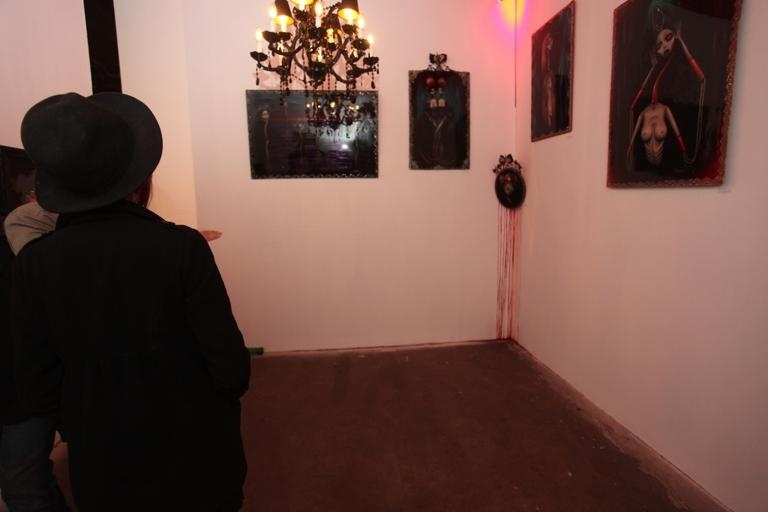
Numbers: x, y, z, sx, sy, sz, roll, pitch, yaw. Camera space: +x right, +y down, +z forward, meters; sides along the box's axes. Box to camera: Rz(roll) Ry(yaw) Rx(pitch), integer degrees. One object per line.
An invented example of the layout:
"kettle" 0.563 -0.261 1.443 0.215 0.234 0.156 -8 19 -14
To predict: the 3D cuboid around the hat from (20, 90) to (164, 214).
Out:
"hat" -1.470 -0.530 2.855 0.631 0.584 0.260 2 12 0
